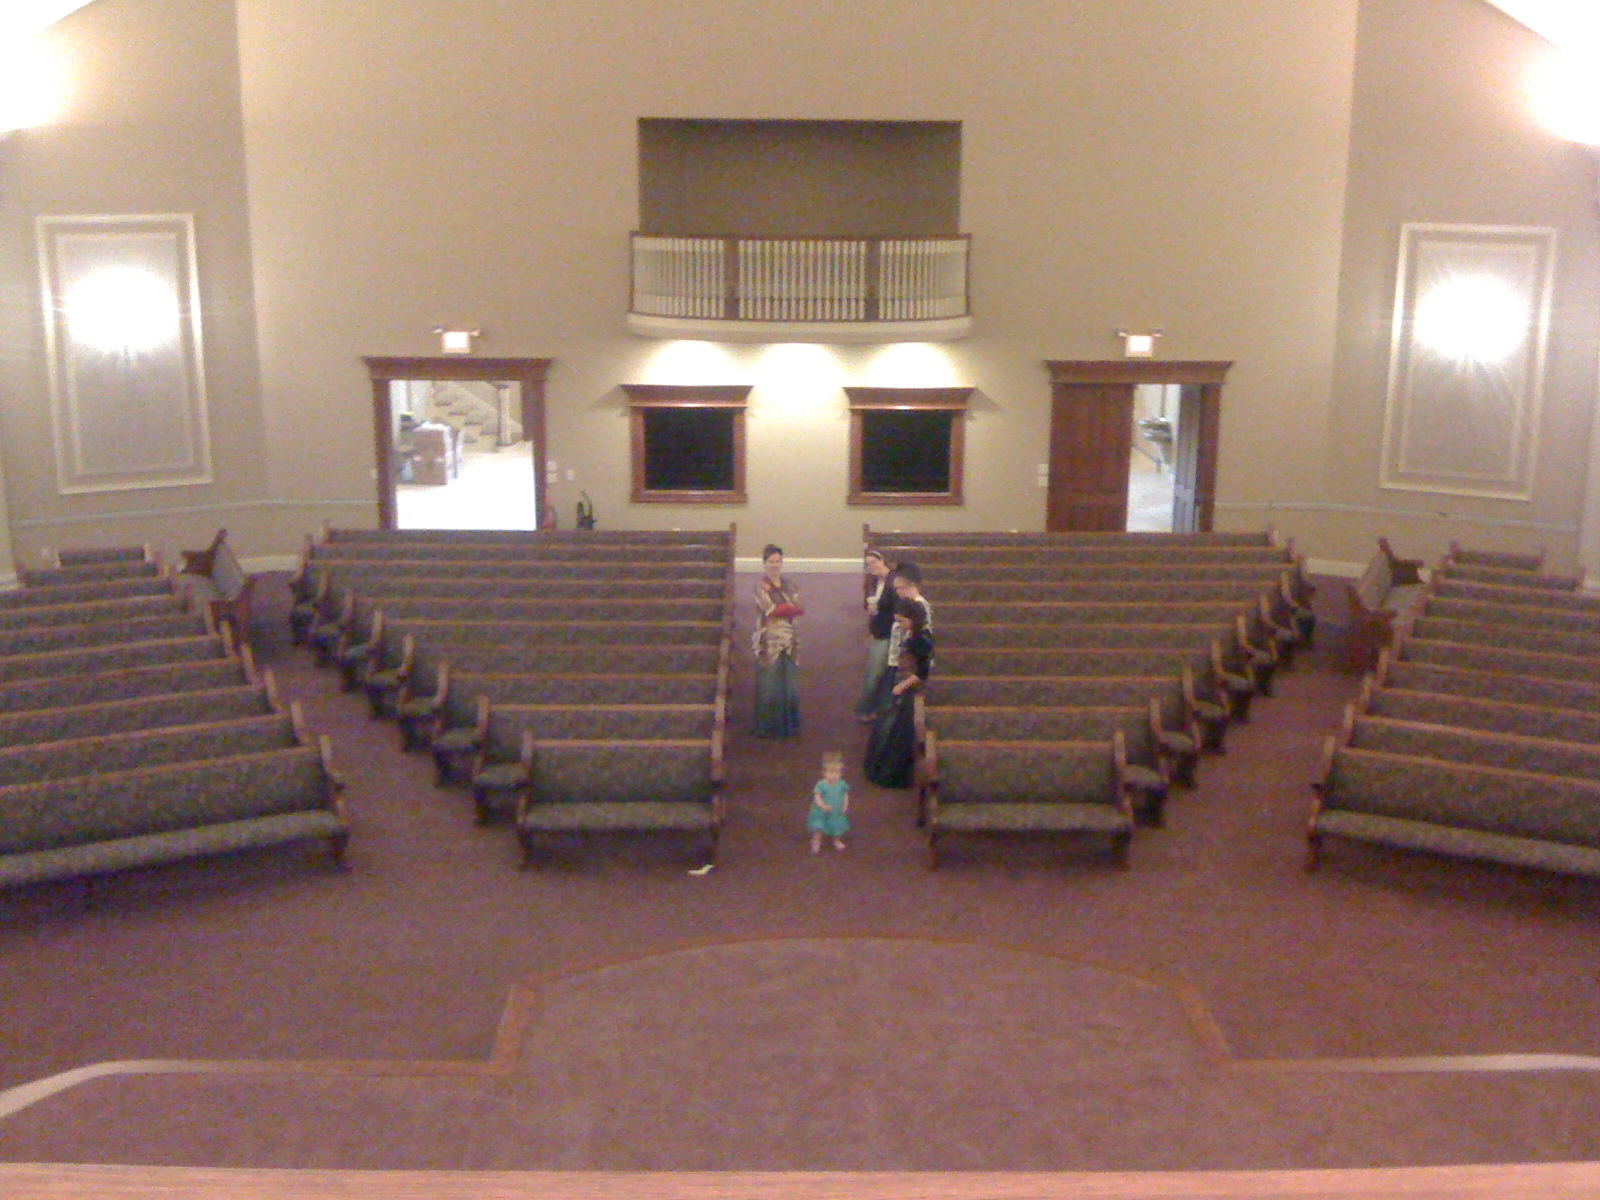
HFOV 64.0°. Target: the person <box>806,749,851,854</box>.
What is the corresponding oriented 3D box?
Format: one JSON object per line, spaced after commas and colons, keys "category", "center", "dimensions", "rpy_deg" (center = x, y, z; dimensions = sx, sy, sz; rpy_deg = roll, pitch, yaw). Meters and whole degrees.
{"category": "person", "center": [0.220, 1.499, 9.883], "dimensions": [0.320, 0.814, 0.841], "rpy_deg": [-1, 9, 2]}
